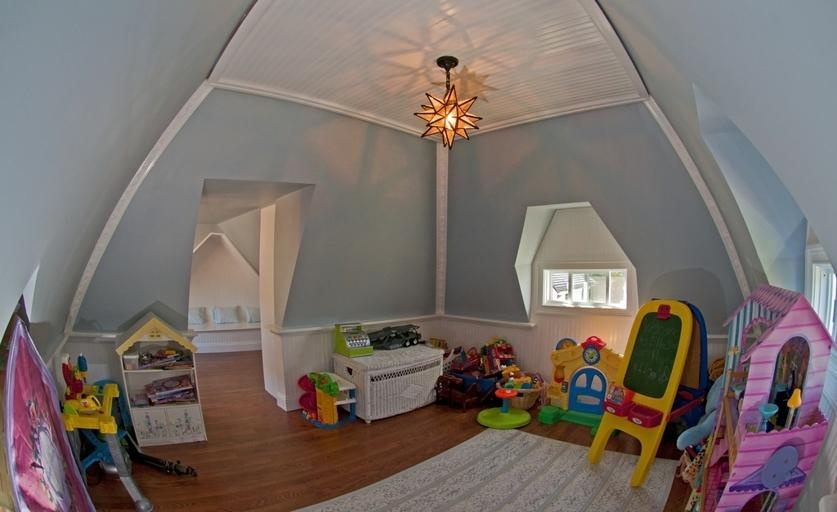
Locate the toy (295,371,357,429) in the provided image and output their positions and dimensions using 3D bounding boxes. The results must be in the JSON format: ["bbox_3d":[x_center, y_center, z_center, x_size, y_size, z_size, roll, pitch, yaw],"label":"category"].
[{"bbox_3d":[-1.141,1.759,6.035,0.573,0.531,0.802,1,-1,-32],"label":"toy"}]

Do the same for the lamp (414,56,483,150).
[{"bbox_3d":[0.305,-1.616,4.996,0.635,0.928,0.639,-10,-13,39],"label":"lamp"}]

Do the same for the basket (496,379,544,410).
[{"bbox_3d":[1.276,1.756,6.154,0.440,0.223,0.579,-6,-8,30],"label":"basket"}]

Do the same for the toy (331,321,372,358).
[{"bbox_3d":[-0.901,1.125,6.406,0.364,0.416,0.490,2,-6,-42],"label":"toy"}]

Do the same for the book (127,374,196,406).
[{"bbox_3d":[-2.874,1.537,5.480,0.486,0.144,0.356,0,2,-25],"label":"book"}]

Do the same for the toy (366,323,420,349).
[{"bbox_3d":[-0.340,1.106,6.830,0.888,0.312,0.281,-3,11,-31],"label":"toy"}]
